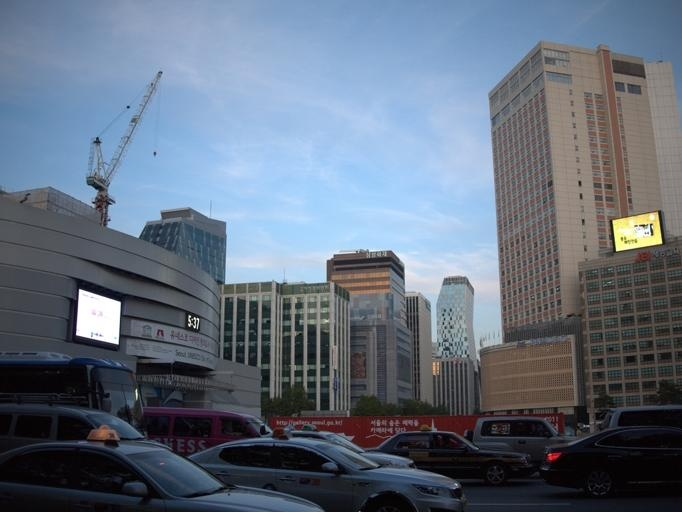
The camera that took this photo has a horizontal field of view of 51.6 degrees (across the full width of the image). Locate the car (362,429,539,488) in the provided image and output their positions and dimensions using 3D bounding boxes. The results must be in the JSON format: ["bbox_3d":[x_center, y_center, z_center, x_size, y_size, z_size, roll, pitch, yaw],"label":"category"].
[{"bbox_3d":[3.928,6.914,24.629,5.414,1.547,2.165,-1,-5,6],"label":"car"}]

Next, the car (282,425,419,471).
[{"bbox_3d":[0.062,6.279,21.867,4.669,1.536,2.004,-3,-9,12],"label":"car"}]

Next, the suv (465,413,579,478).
[{"bbox_3d":[6.703,6.980,26.238,3.553,1.711,2.057,-4,-9,10],"label":"suv"}]
